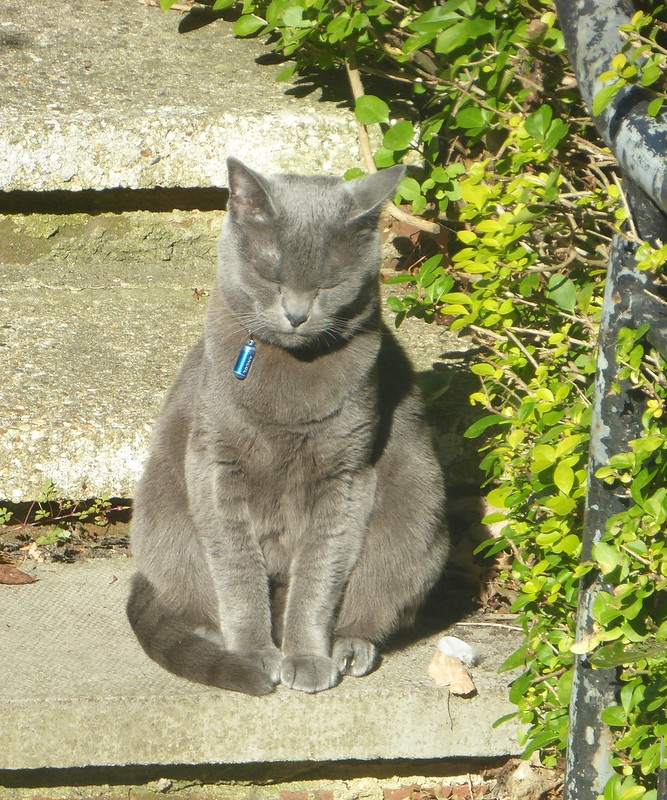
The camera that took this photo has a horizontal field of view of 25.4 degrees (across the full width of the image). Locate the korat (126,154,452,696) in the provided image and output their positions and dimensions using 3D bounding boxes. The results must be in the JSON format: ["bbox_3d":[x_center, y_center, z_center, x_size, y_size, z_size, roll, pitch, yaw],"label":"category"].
[{"bbox_3d":[-0.027,0.049,3.107,0.708,1.054,0.760,7,30,-6],"label":"korat"}]
